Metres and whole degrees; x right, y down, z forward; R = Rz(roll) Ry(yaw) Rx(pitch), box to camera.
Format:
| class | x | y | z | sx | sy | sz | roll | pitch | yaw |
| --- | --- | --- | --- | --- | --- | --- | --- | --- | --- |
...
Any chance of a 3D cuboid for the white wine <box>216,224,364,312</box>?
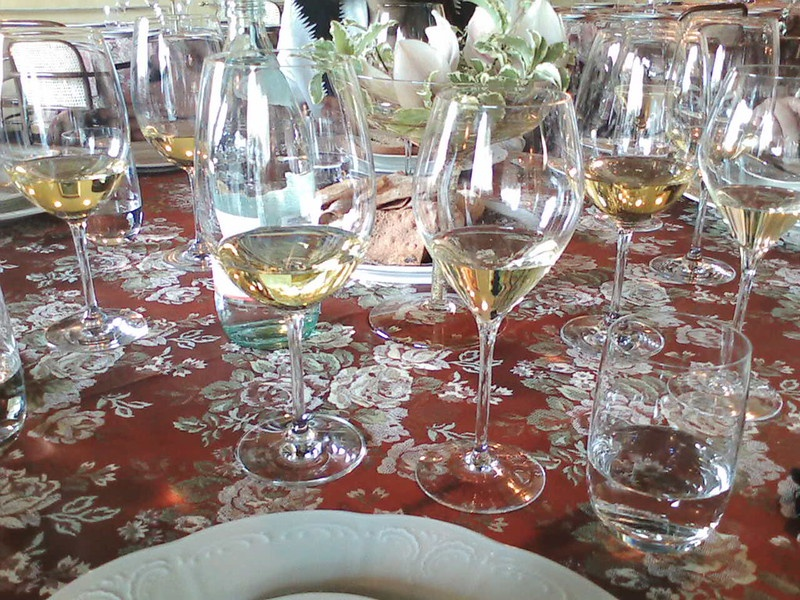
| class | x | y | z | sx | sy | sz | roll | pitch | yaw |
| --- | --- | --- | --- | --- | --- | --- | --- | --- | --- |
| white wine | -0.111 | -0.042 | 0.578 | 0.115 | 0.038 | 0.106 | 16 | -20 | -30 |

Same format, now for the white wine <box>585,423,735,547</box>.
| class | x | y | z | sx | sy | sz | roll | pitch | yaw |
| --- | --- | --- | --- | --- | --- | --- | --- | --- | --- |
| white wine | 0.206 | 0.152 | 0.544 | 0.125 | 0.064 | 0.107 | -6 | 27 | -8 |

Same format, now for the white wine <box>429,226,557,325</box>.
| class | x | y | z | sx | sy | sz | roll | pitch | yaw |
| --- | --- | --- | --- | --- | --- | --- | --- | --- | --- |
| white wine | 0.068 | -0.028 | 0.597 | 0.117 | 0.079 | 0.097 | -3 | 22 | -12 |

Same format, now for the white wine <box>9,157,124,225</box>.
| class | x | y | z | sx | sy | sz | roll | pitch | yaw |
| --- | --- | --- | --- | --- | --- | --- | --- | --- | --- |
| white wine | -0.402 | -0.131 | 0.769 | 0.120 | 0.045 | 0.090 | 3 | 35 | 0 |
